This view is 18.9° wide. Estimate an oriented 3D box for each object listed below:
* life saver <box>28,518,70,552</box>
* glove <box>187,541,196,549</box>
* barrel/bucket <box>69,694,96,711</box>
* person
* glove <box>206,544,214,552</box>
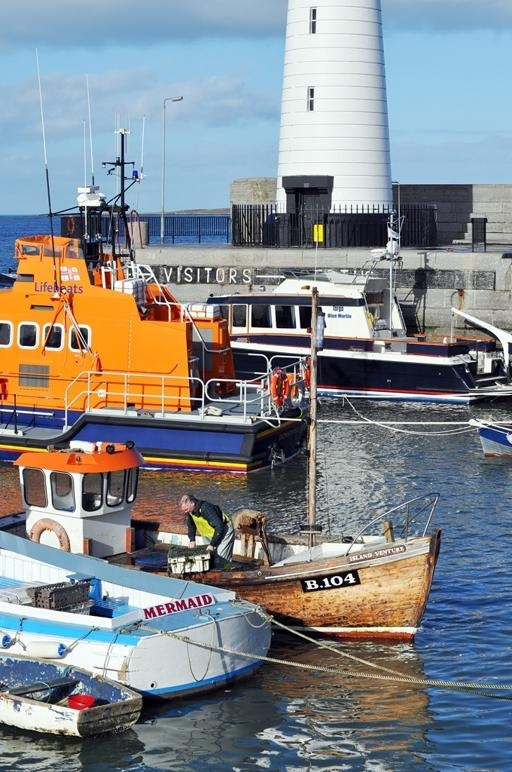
[{"bbox_3d":[-2.322,1.656,17.213,0.581,0.341,0.103,1,6,34],"label":"life saver"},{"bbox_3d":[-0.701,1.708,16.607,0.054,0.059,0.103,28,-10,-8],"label":"glove"},{"bbox_3d":[-1.598,2.873,14.028,0.258,0.082,0.231,-3,5,-2],"label":"barrel/bucket"},{"bbox_3d":[-0.543,1.546,16.558,0.452,0.745,0.580,-7,7,-44],"label":"person"},{"bbox_3d":[-0.496,1.725,16.282,0.034,0.089,0.139,1,6,27],"label":"glove"}]
